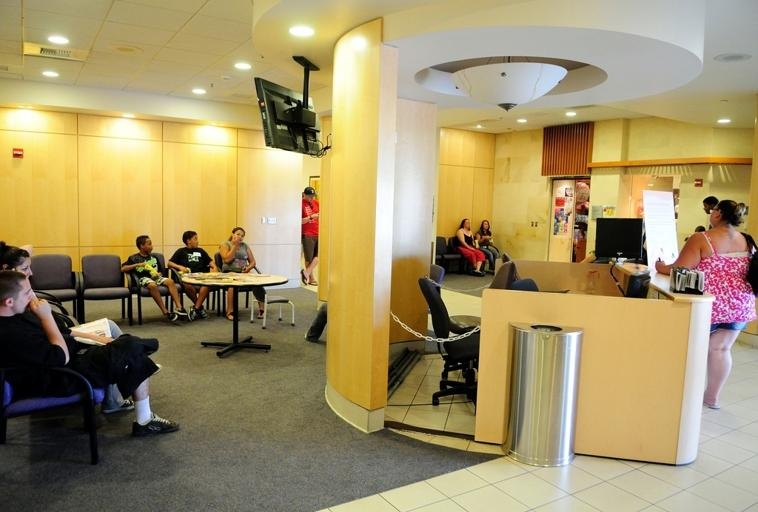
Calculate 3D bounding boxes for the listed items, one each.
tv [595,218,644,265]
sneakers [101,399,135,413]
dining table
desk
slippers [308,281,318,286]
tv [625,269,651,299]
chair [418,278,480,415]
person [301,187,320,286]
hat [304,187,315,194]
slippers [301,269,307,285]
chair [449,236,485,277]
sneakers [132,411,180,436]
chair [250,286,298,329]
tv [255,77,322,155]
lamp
[{"bbox_3d":[4.144,-0.262,9.286,0.845,0.713,0.392,1,5,6],"label":"tv"},{"bbox_3d":[-2.723,1.568,5.695,0.355,0.136,0.126,-1,1,-24],"label":"sneakers"},{"bbox_3d":[-2.102,0.705,7.742,1.304,0.884,1.285,4,5,26],"label":"dining table"},{"bbox_3d":[2.066,1.021,5.730,1.925,1.276,1.806,1,4,5],"label":"desk"},{"bbox_3d":[-1.476,0.588,12.287,0.280,0.077,0.163,1,4,-10],"label":"slippers"},{"bbox_3d":[2.730,0.290,5.690,0.256,0.332,0.177,-10,18,-27],"label":"tv"},{"bbox_3d":[0.759,0.947,5.940,0.693,1.391,1.205,4,12,10],"label":"chair"},{"bbox_3d":[-1.550,-0.463,12.114,0.381,2.194,0.682,0,13,-9],"label":"person"},{"bbox_3d":[-1.527,-1.417,11.694,0.216,0.148,0.211,1,6,24],"label":"hat"},{"bbox_3d":[-1.726,0.468,12.456,0.143,0.357,0.130,-5,0,-8],"label":"slippers"},{"bbox_3d":[2.245,0.000,13.862,0.975,1.123,0.844,2,9,24],"label":"chair"},{"bbox_3d":[-2.182,1.667,5.370,0.486,0.196,0.168,1,0,-22],"label":"sneakers"},{"bbox_3d":[-1.759,0.856,9.062,0.722,0.870,0.605,-3,5,-23],"label":"chair"},{"bbox_3d":[-1.145,-1.745,6.836,0.333,0.883,0.925,10,14,31],"label":"tv"},{"bbox_3d":[1.442,-1.903,5.915,0.764,0.232,0.733,-1,1,9],"label":"lamp"}]
